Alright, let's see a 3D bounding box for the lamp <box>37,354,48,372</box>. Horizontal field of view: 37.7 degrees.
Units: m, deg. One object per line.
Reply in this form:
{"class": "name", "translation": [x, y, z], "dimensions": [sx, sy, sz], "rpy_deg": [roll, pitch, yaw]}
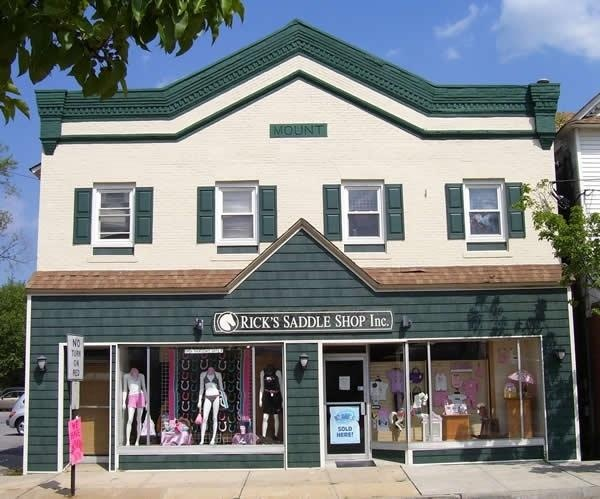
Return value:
{"class": "lamp", "translation": [-6.018, 2.649, 20.397], "dimensions": [0.312, 0.528, 0.271], "rpy_deg": [0, 0, -9]}

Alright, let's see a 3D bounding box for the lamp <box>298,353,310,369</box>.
{"class": "lamp", "translation": [0.097, 2.604, 20.389], "dimensions": [0.220, 0.361, 0.160], "rpy_deg": [0, -12, -3]}

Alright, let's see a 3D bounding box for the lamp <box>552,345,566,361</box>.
{"class": "lamp", "translation": [6.137, 2.440, 20.742], "dimensions": [0.287, 0.320, 0.264], "rpy_deg": [3, -19, -1]}

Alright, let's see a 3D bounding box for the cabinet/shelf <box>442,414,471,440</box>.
{"class": "cabinet/shelf", "translation": [3.726, 4.227, 20.855], "dimensions": [0.563, 0.539, 0.570], "rpy_deg": [0, -9, -5]}

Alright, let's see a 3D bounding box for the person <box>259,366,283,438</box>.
{"class": "person", "translation": [-0.686, 3.572, 20.556], "dimensions": [0.507, 1.724, 0.121], "rpy_deg": [0, -12, -4]}

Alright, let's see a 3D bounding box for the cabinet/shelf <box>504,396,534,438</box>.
{"class": "cabinet/shelf", "translation": [5.226, 4.012, 20.854], "dimensions": [0.786, 1.472, 0.790], "rpy_deg": [-1, -14, 13]}
